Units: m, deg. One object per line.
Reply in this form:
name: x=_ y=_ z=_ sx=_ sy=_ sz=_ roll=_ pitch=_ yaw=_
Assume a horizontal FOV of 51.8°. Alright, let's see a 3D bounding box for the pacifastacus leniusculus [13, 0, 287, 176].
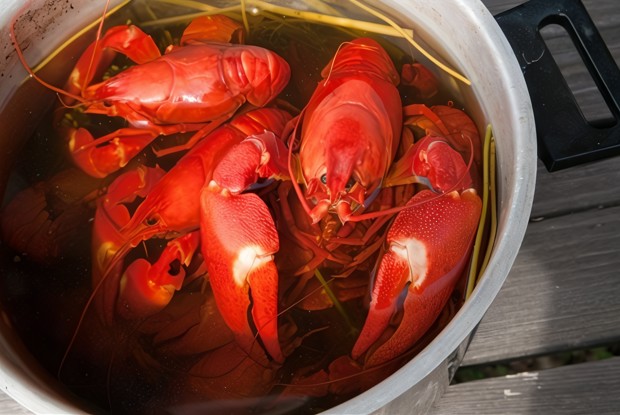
pacifastacus leniusculus: x=-0.410 y=-0.339 z=1.872 sx=0.629 sy=0.522 sz=0.239 roll=-11 pitch=-15 yaw=-3
